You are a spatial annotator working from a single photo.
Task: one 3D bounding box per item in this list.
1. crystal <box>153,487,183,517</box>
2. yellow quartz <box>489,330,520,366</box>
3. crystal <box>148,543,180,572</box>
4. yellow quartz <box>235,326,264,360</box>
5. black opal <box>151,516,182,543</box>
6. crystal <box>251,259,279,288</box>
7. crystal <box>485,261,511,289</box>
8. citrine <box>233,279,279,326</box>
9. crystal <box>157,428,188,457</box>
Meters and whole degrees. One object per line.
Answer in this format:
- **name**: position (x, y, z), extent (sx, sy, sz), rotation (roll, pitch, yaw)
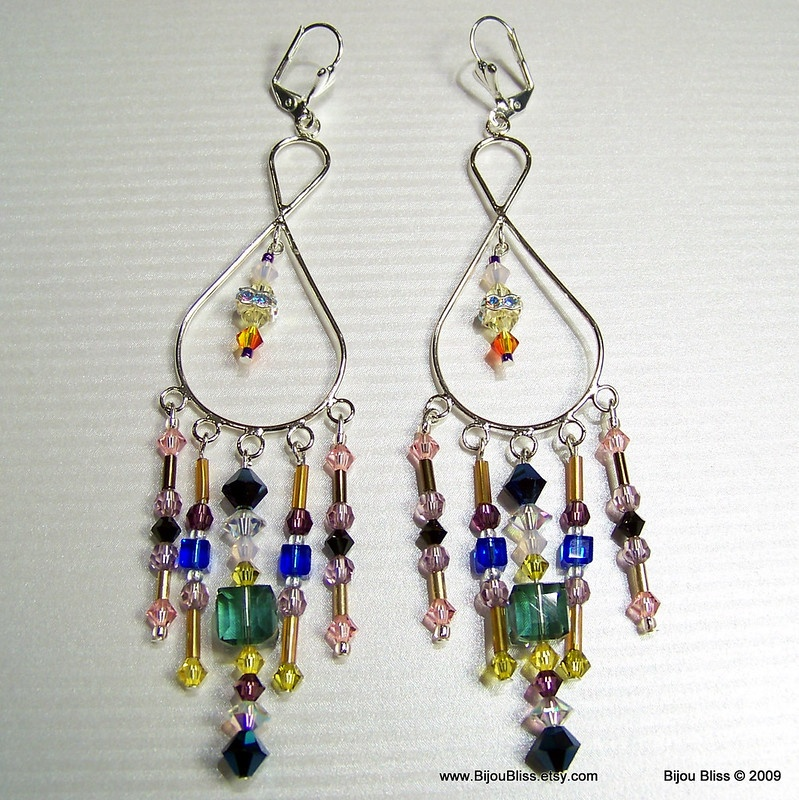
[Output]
- **crystal**: position (-0.365, 0.162, 1.868), extent (0.043, 0.056, 0.043), rotation (-4, -19, 5)
- **yellow quartz**: position (0.176, -0.091, 2.002), extent (0.054, 0.064, 0.049), rotation (2, -52, -2)
- **crystal**: position (-0.368, 0.245, 1.848), extent (0.043, 0.040, 0.042), rotation (-4, -30, 1)
- **yellow quartz**: position (-0.253, -0.094, 1.991), extent (0.031, 0.048, 0.029), rotation (-9, -51, -5)
- **black opal**: position (-0.367, 0.202, 1.858), extent (0.042, 0.033, 0.041), rotation (5, -20, 1)
- **crystal**: position (-0.234, -0.217, 2.047), extent (0.028, 0.031, 0.058), rotation (-25, 10, -7)
- **crystal**: position (0.169, -0.220, 2.075), extent (0.044, 0.043, 0.075), rotation (2, 11, 0)
- **citrine**: position (-0.240, -0.164, 1.992), extent (0.059, 0.077, 0.037), rotation (0, 5, -11)
- **crystal**: position (-0.367, 0.067, 1.913), extent (0.044, 0.050, 0.045), rotation (-3, -29, -5)
